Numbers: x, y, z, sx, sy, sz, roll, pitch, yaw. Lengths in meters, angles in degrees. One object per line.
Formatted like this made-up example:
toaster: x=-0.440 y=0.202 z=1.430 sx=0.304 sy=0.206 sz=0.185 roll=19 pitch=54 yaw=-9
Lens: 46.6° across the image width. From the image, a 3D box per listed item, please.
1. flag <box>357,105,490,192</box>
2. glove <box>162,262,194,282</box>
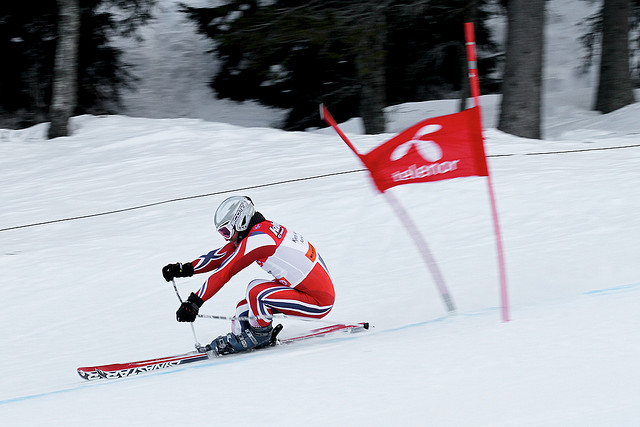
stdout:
flag: x=1.095 y=-0.671 z=7.867 sx=1.811 sy=0.823 sz=0.135 roll=-13 pitch=17 yaw=-33
glove: x=-1.539 y=0.629 z=8.019 sx=0.335 sy=0.082 sz=0.200 roll=-1 pitch=-11 yaw=-15
